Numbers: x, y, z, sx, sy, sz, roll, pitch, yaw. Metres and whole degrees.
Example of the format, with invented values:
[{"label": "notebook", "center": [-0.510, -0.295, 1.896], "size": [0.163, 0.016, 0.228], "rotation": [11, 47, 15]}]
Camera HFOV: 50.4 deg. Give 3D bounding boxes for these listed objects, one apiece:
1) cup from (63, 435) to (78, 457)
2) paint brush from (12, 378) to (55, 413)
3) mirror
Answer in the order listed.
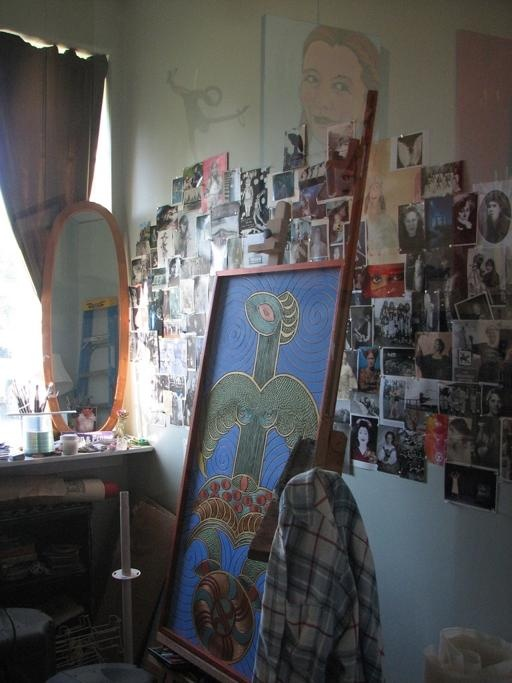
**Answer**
[{"label": "cup", "center": [-0.757, 0.416, 2.217], "size": [0.064, 0.081, 0.069], "rotation": [3, 3, 0]}, {"label": "paint brush", "center": [-0.938, 0.236, 2.301], "size": [0.175, 0.118, 0.314], "rotation": [2, 4, -25]}, {"label": "mirror", "center": [-0.806, -0.019, 2.602], "size": [0.384, 1.517, 0.038], "rotation": [-6, 43, -25]}]
